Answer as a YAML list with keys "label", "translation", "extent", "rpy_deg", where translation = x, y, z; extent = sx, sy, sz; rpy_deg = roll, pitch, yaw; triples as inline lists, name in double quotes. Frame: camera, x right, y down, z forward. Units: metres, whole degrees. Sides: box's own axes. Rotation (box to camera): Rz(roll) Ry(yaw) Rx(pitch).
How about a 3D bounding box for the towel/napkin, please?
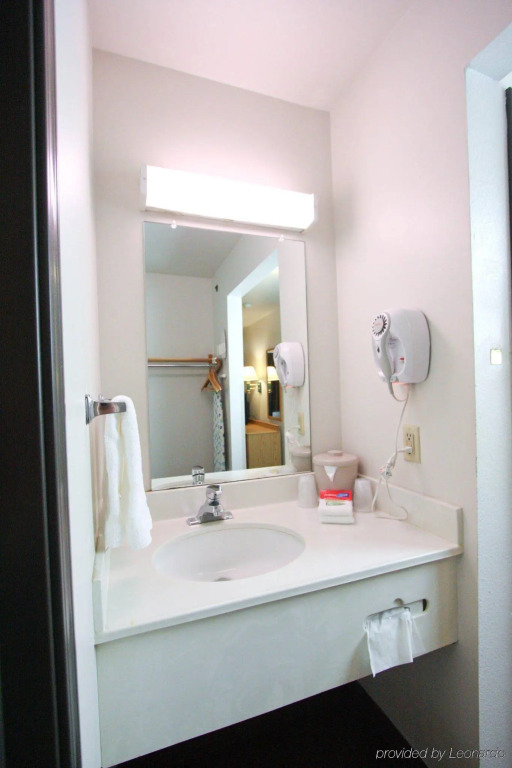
- label: "towel/napkin"
  translation: [-0.273, 0.186, 1.087]
  extent: [0.105, 0.232, 0.090]
  rpy_deg: [-3, 2, -3]

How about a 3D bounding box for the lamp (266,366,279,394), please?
- label: "lamp"
  translation: [0.051, -0.017, 1.770]
  extent: [0.049, 0.098, 0.059]
  rpy_deg: [-1, -3, -2]

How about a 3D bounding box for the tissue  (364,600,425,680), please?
- label: "tissue "
  translation: [0.321, 0.568, 1.221]
  extent: [0.187, 0.130, 0.057]
  rpy_deg: [-6, 4, -30]

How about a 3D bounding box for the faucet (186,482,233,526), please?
- label: "faucet"
  translation: [-0.125, 0.297, 1.529]
  extent: [0.134, 0.146, 0.080]
  rpy_deg: [1, 0, -31]

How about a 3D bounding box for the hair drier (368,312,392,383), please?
- label: "hair drier"
  translation: [0.310, -0.098, 1.396]
  extent: [0.025, 0.154, 0.088]
  rpy_deg: [-2, -4, -7]

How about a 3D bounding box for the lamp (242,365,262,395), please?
- label: "lamp"
  translation: [-0.013, -0.008, 1.742]
  extent: [0.062, 0.125, 0.066]
  rpy_deg: [5, -9, -29]

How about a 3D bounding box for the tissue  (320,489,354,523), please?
- label: "tissue "
  translation: [0.237, 0.356, 1.575]
  extent: [0.095, 0.065, 0.181]
  rpy_deg: [-4, 3, 11]

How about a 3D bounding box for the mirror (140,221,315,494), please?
- label: "mirror"
  translation: [-0.076, -0.062, 1.743]
  extent: [0.584, 1.150, 0.018]
  rpy_deg: [-7, 39, -11]
